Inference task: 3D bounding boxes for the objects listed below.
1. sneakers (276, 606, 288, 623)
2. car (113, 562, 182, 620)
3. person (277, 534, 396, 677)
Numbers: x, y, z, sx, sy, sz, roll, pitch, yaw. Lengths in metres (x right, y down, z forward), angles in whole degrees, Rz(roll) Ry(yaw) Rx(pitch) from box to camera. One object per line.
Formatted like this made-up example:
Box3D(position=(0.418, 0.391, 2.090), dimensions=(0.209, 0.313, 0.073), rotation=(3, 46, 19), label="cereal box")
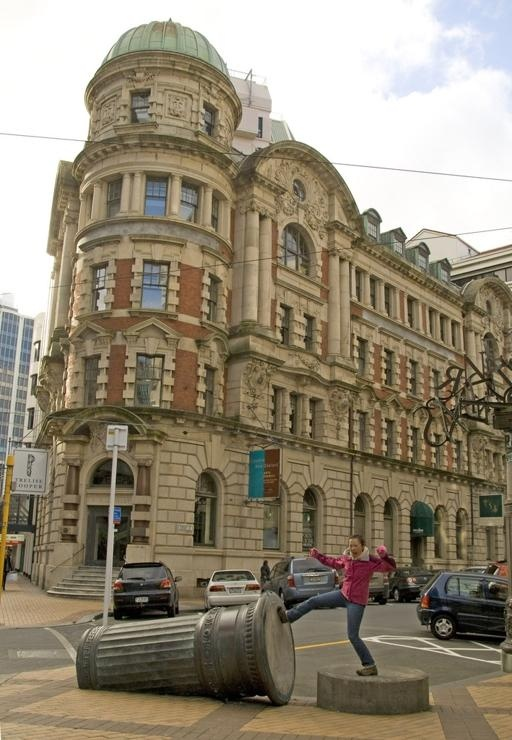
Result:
Box3D(position=(0.293, 2.596, 8.409), dimensions=(0.104, 0.223, 0.078), rotation=(-4, 16, 22), label="sneakers")
Box3D(position=(-2.930, 5.906, 21.168), dimensions=(1.393, 1.011, 2.186), rotation=(-1, -10, 1), label="car")
Box3D(position=(0.938, 2.506, 8.462), dimensions=(1.084, 1.439, 0.659), rotation=(-1, -15, 8), label="person")
